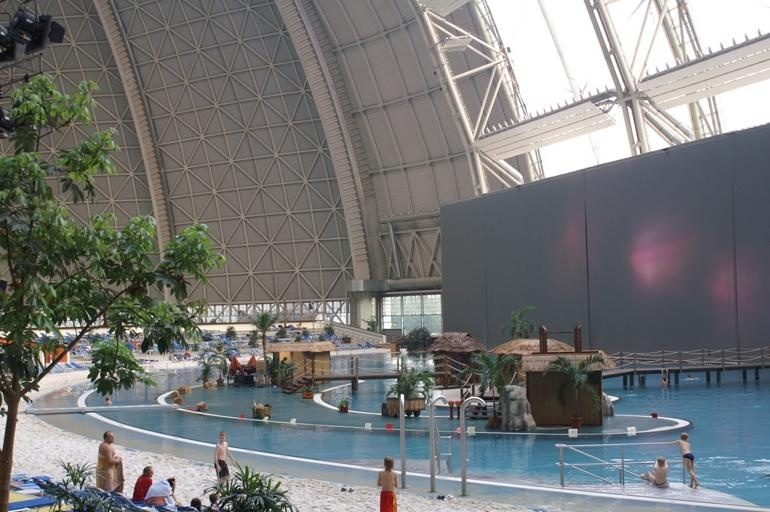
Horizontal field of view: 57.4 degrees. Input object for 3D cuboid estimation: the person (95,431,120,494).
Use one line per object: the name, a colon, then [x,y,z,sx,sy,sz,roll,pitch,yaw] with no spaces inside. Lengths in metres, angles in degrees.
person: [-6.178,4.671,15.949,0.599,1.270,0.836,8,-17,-20]

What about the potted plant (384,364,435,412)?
potted plant: [1.047,5.440,28.074,1.783,1.915,1.993,5,-17,-13]

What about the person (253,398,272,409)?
person: [-5.329,6.499,30.712,0.812,0.525,0.816,5,-7,-20]

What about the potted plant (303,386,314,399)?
potted plant: [-3.697,6.684,34.202,0.475,0.573,0.682,3,-17,-5]

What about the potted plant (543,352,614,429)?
potted plant: [6.795,4.773,25.020,2.512,2.761,2.270,-2,-9,6]

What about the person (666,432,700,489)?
person: [8.120,5.516,19.046,0.481,1.467,3.154,-5,-18,21]

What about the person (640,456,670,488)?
person: [6.815,5.495,17.868,0.447,0.941,0.922,3,5,0]

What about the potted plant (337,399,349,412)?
potted plant: [-1.748,6.368,29.660,0.522,0.540,0.432,0,-5,-11]
